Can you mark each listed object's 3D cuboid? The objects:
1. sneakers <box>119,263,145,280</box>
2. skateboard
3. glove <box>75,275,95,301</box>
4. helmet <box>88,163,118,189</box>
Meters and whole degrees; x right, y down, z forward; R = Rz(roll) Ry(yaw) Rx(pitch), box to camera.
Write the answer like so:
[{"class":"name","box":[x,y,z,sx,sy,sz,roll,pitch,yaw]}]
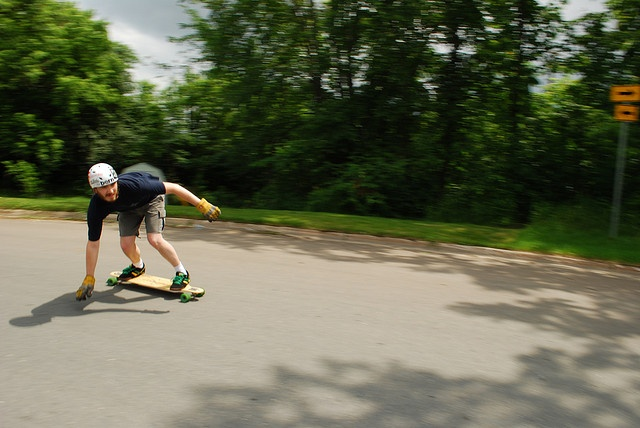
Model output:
[{"class":"sneakers","box":[-3.086,0.953,9.026,0.527,0.154,0.156,-13,-30,-6]},{"class":"skateboard","box":[-2.869,1.143,8.909,2.206,0.158,0.473,5,18,17]},{"class":"glove","box":[-3.544,1.106,8.323,0.210,0.421,0.245,9,5,-20]},{"class":"helmet","box":[-3.183,-0.554,8.064,0.422,0.272,0.508,-20,4,-28]}]
